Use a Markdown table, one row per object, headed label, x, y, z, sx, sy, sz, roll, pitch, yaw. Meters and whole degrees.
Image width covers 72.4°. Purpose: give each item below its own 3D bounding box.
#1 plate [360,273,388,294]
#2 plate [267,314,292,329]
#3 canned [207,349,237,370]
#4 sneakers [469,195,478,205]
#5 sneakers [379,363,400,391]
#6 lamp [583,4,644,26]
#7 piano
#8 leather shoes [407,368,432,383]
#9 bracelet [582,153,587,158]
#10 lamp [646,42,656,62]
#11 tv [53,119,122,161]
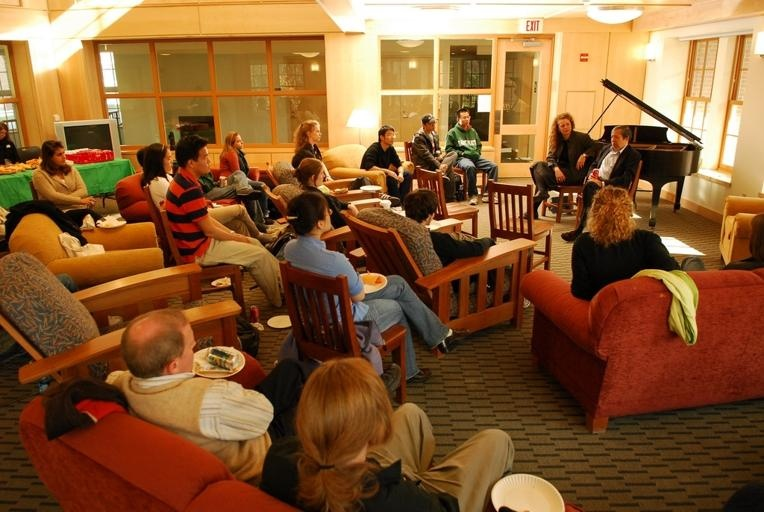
| label | x | y | z | sx | sy | sz | roll | pitch | yaw |
| --- | --- | --- | --- | --- | --- | --- | --- | --- | --- |
| plate | -0.073 | 0.195 | 3.826 | 0.160 | 0.038 | 0.153 | -11 | 30 | -26 |
| plate | -0.972 | 0.626 | 4.913 | 0.236 | 0.009 | 0.225 | -7 | 18 | -23 |
| canned | -0.967 | 0.614 | 3.131 | 0.182 | 0.106 | 0.098 | 4 | 3 | 30 |
| sneakers | 1.536 | -0.939 | 8.815 | 0.092 | 0.107 | 0.257 | 2 | 17 | 13 |
| sneakers | 0.058 | 0.881 | 3.770 | 0.089 | 0.103 | 0.252 | -2 | -2 | -4 |
| lamp | 3.203 | -3.436 | 7.419 | 0.751 | 0.172 | 0.713 | -8 | 22 | -19 |
| piano | 4.132 | -1.683 | 8.209 | 1.965 | 2.374 | 2.328 | 5 | 22 | 24 |
| leather shoes | 0.282 | 0.939 | 4.192 | 0.208 | 0.077 | 0.098 | -10 | 15 | -13 |
| bracelet | 2.988 | -1.487 | 7.731 | 0.049 | 0.063 | 0.064 | 16 | 16 | -38 |
| lamp | 4.849 | -3.684 | 9.467 | 0.125 | 0.323 | 0.335 | 1 | 20 | 13 |
| tv | -5.177 | -2.095 | 9.193 | 1.318 | 0.871 | 0.691 | -8 | 15 | -35 |
